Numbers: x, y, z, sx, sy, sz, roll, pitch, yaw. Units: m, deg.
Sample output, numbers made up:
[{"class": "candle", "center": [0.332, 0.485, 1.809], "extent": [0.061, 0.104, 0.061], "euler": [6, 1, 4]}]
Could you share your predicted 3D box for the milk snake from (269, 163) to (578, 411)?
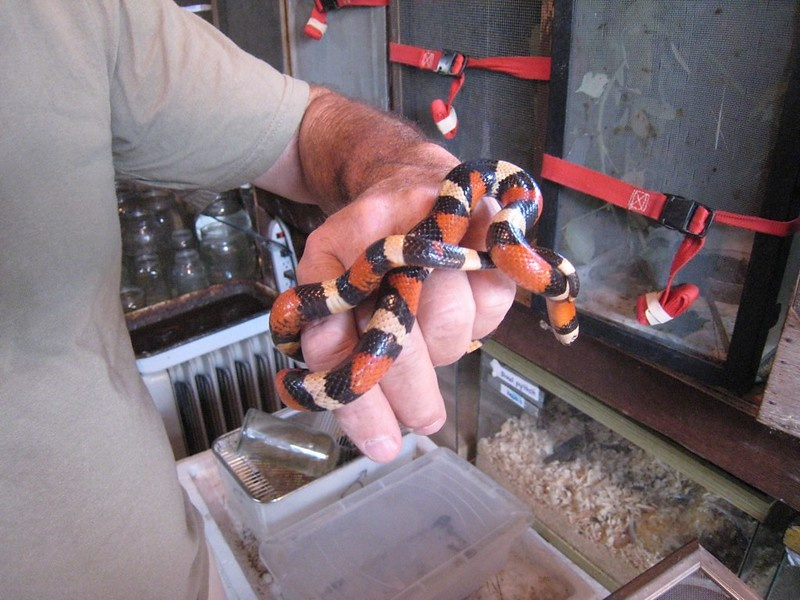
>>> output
[{"class": "milk snake", "center": [0.050, -0.084, 1.815], "extent": [0.877, 0.722, 0.261], "euler": [-20, 14, -17]}]

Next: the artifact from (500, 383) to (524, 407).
[{"class": "artifact", "center": [0.571, 0.481, 3.004], "extent": [0.027, 0.109, 0.110], "euler": [-37, 57, -23]}]

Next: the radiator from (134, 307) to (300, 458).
[{"class": "radiator", "center": [-1.031, 0.432, 3.251], "extent": [0.673, 0.729, 0.323], "euler": [-20, 32, -30]}]

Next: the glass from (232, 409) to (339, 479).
[{"class": "glass", "center": [-0.579, 0.741, 3.010], "extent": [0.421, 0.250, 0.265], "euler": [14, 26, 2]}]

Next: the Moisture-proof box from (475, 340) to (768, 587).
[{"class": "Moisture-proof box", "center": [1.110, 0.673, 3.005], "extent": [0.721, 1.161, 1.274], "euler": [-29, 39, -34]}]
